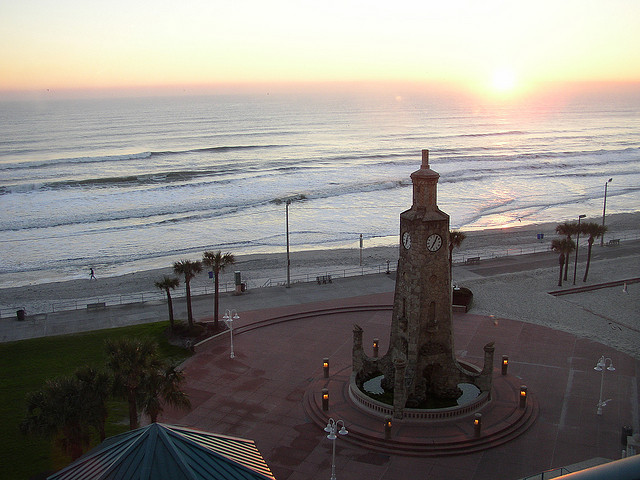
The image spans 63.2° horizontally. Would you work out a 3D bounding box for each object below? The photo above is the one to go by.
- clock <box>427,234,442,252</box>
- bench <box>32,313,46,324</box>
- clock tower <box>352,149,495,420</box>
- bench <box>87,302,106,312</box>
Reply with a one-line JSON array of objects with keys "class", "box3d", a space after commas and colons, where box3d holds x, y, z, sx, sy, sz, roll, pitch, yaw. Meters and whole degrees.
[{"class": "clock", "box3d": [5.912, 0.094, 26.768, 0.771, 0.745, 0.103, -16, 13, -24]}, {"class": "bench", "box3d": [-22.342, 6.224, 41.456, 0.947, 0.164, 2.241, -9, 16, -27]}, {"class": "clock tower", "box3d": [5.556, 2.085, 27.223, 7.111, 13.215, 3.005, 3, 15, 15]}, {"class": "bench", "box3d": [-18.646, 5.551, 43.480, 1.406, 0.459, 1.037, -7, 16, -22]}]
